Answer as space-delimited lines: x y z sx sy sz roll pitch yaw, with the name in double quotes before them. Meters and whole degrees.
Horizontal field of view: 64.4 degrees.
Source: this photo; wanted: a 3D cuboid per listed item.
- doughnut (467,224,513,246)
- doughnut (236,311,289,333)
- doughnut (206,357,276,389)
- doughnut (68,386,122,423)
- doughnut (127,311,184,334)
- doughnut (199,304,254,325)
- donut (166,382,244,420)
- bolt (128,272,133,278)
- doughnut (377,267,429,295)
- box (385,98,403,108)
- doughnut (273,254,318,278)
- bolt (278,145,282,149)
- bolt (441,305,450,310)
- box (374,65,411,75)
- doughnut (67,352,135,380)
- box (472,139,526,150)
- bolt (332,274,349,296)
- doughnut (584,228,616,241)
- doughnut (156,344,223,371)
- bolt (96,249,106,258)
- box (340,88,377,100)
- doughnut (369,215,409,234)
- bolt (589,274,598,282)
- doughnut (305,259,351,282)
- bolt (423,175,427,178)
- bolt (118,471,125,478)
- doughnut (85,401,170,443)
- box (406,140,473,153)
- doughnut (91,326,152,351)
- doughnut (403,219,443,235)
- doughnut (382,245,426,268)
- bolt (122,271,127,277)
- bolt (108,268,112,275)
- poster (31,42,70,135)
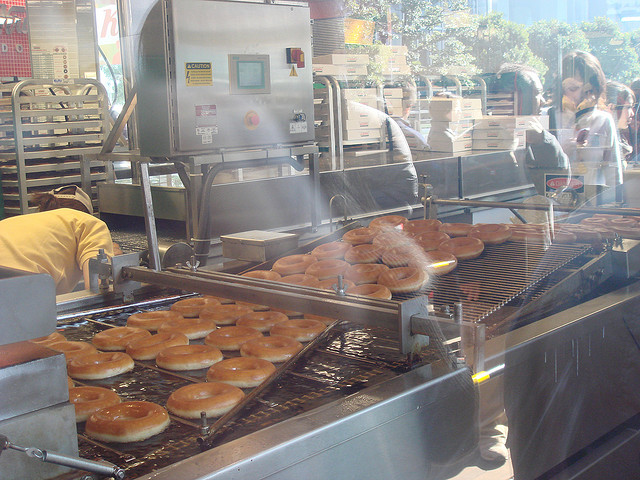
"doughnut" 0.501 -0.016 1.499 0.036 0.065 0.147 -10 14 -26
"doughnut" -0.172 0.235 1.515 0.090 0.023 0.085 -4 5 -42
"doughnut" -0.198 0.332 1.271 0.179 0.046 0.159 3 4 14
"doughnut" -0.514 0.366 1.135 0.119 0.032 0.110 5 15 18
"doughnut" -0.514 0.247 1.571 0.092 0.026 0.092 1 1 44
"doughnut" -0.287 0.222 1.596 0.091 0.023 0.087 3 5 32
"donut" -0.255 0.359 1.144 0.153 0.042 0.160 3 6 40
"bolt" -0.655 0.120 1.741 0.022 0.015 0.018 2 6 1
"doughnut" 0.220 0.105 1.328 0.095 0.025 0.090 -16 14 -37
"box" 0.181 -0.338 1.246 0.039 0.023 0.016 -1 14 7
"doughnut" -0.084 0.079 1.787 0.115 0.033 0.110 -3 9 32
"bolt" -0.278 -0.639 3.472 0.041 0.029 0.017 -1 23 3
"bolt" 0.298 0.162 1.222 0.010 0.007 0.012 0 1 -13
"box" 0.171 -0.391 1.165 0.072 0.020 0.036 -1 12 3
"doughnut" -0.572 0.326 1.309 0.129 0.042 0.121 8 15 39
"box" 0.457 -0.246 1.299 0.130 0.028 0.048 0 12 10
"bolt" 0.065 0.118 1.328 0.060 0.046 0.048 -3 13 7
"doughnut" 0.836 -0.026 1.502 0.066 0.012 0.063 -10 11 -42
"doughnut" -0.338 0.302 1.320 0.096 0.020 0.087 -2 6 -36
"bolt" -0.776 0.050 1.798 0.037 0.028 0.031 0 3 -18
"box" 0.096 -0.380 1.322 0.053 0.035 0.180 -4 11 -10
"doughnut" 0.218 -0.052 1.560 0.084 0.022 0.070 -8 7 -16
"bolt" 0.813 0.112 1.509 0.031 0.006 0.028 1 12 23
"doughnut" 0.027 0.087 1.640 0.097 0.025 0.094 3 10 35
"bolt" 0.301 -0.182 1.451 0.005 0.006 0.006 -5 -9 -5
"bolt" -0.314 0.369 0.798 0.009 0.008 0.003 12 -11 -22
"doughnut" -0.406 0.370 1.052 0.171 0.033 0.148 4 8 11
"box" 0.301 -0.237 1.272 0.163 0.033 0.089 0 11 9
"doughnut" -0.573 0.270 1.438 0.090 0.023 0.088 4 6 41
"doughnut" 0.313 -0.047 1.541 0.078 0.019 0.065 -8 7 -14
"doughnut" 0.223 0.042 1.403 0.087 0.022 0.082 -14 13 -41
"bolt" -0.680 0.115 1.757 0.020 0.016 0.005 6 17 33
"bolt" -0.732 0.107 1.759 0.007 0.018 0.016 4 12 -40
"poster" -2.620 -1.458 4.870 0.096 1.107 0.498 24 28 13
